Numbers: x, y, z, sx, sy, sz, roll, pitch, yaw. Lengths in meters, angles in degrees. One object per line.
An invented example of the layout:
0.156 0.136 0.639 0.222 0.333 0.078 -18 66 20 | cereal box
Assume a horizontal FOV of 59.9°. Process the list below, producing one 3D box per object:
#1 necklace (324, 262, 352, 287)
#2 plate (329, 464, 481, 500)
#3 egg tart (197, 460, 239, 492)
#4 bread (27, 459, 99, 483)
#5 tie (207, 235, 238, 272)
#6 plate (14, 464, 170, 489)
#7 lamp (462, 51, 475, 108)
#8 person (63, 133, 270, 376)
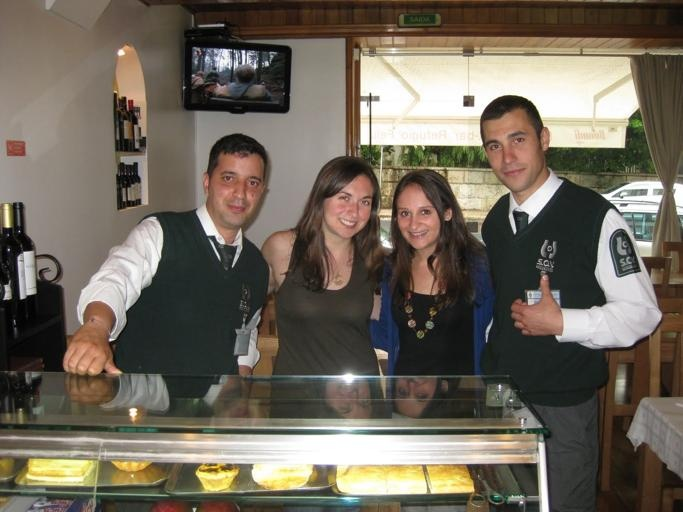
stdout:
-0.023 0.098 2.697 0.088 0.114 0.025 9 -22 -12 | necklace
0.174 0.651 1.725 0.271 0.037 0.161 -1 9 0 | plate
-0.362 0.643 1.726 0.088 0.047 0.090 7 5 43 | egg tart
-0.823 0.618 1.707 0.109 0.033 0.108 4 -2 -15 | bread
-0.477 -0.005 2.399 0.082 0.144 0.042 -10 -10 -36 | tie
-0.706 0.645 1.716 0.262 0.029 0.162 2 -9 -3 | plate
1.338 -1.821 6.230 0.120 0.502 0.134 -1 6 11 | lamp
-0.659 0.002 2.303 0.404 0.957 0.883 3 8 41 | person
